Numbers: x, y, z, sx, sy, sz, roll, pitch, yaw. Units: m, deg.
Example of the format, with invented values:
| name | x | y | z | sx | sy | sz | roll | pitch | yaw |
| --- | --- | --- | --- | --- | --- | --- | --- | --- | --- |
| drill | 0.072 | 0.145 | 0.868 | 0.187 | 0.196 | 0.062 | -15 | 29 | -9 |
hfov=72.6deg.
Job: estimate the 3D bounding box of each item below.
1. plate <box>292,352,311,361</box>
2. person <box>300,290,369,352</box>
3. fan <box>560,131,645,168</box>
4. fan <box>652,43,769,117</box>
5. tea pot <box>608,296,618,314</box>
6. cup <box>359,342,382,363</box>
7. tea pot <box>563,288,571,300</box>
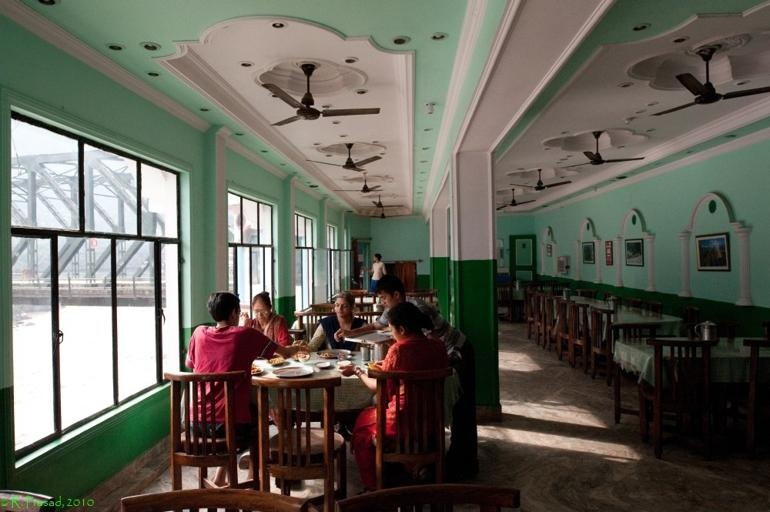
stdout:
| name | x | y | z | sx | sy | sz | roll | pitch | yaw |
| --- | --- | --- | --- | --- | --- | --- | --- | --- | --- |
| plate | -0.841 | 1.011 | 5.304 | 0.117 | 0.042 | 0.116 | 0 | -2 | 20 |
| person | -0.470 | 0.805 | 5.937 | 0.860 | 0.719 | 0.468 | -4 | 4 | 4 |
| fan | 3.365 | -1.595 | 8.269 | 0.885 | 0.329 | 0.891 | -7 | 7 | -42 |
| fan | 3.717 | -2.016 | 6.006 | 0.767 | 0.637 | 1.382 | 5 | 13 | 27 |
| tea pot | 3.897 | 0.840 | 9.034 | 0.145 | 0.229 | 0.140 | 0 | -5 | 0 |
| cup | -0.133 | 0.957 | 5.207 | 0.235 | 0.230 | 0.128 | 0 | 2 | -19 |
| tea pot | 3.334 | 0.697 | 9.681 | 0.188 | 0.208 | 0.186 | 0 | 6 | 0 |
